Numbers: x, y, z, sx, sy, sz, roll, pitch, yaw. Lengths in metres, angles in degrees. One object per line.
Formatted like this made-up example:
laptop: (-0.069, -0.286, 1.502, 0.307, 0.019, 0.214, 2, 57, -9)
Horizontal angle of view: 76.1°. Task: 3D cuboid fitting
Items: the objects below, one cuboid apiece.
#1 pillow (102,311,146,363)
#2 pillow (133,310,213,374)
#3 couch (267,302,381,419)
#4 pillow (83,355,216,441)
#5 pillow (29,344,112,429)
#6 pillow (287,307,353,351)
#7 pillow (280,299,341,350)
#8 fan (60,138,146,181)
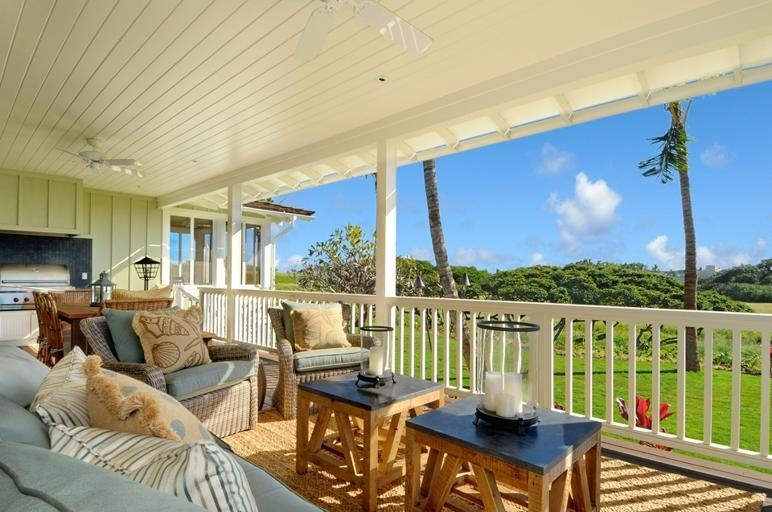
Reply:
pillow: (-2.393, 0.718, 4.447, 0.466, 0.436, 0.167, 6, -29, -42)
pillow: (-1.954, 0.749, 4.479, 0.879, 0.620, 0.455, 3, -4, -45)
couch: (-0.809, 1.141, 5.543, 1.158, 1.209, 1.113, 6, -14, -28)
pillow: (-1.366, 0.812, 2.942, 0.738, 0.504, 0.713, 3, 3, -11)
pillow: (-1.834, 0.737, 2.809, 0.325, 0.354, 0.421, 3, 0, -17)
pillow: (-0.764, 0.765, 5.435, 0.680, 0.509, 0.333, 1, 3, -36)
pillow: (-0.867, 0.726, 5.522, 0.697, 0.531, 0.463, 2, -3, -29)
fan: (-3.713, -1.248, 6.540, 0.736, 0.248, 0.681, 1, 2, 9)
